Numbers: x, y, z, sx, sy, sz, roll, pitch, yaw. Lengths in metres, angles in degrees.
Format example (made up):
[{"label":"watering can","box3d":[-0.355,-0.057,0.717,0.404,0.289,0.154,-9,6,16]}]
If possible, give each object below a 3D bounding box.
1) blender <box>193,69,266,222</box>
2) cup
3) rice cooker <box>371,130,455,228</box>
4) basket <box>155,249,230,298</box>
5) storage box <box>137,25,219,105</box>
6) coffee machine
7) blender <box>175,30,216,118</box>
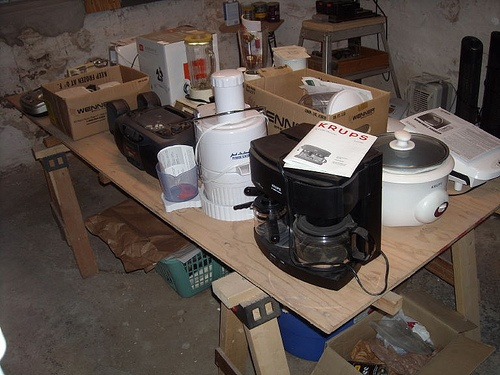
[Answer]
[{"label":"blender","box3d":[-0.070,-0.128,1.610,0.242,0.602,0.292,-19,38,-27]},{"label":"cup","box3d":[-0.310,-0.059,1.712,0.135,0.243,0.181,-9,33,-23]},{"label":"rice cooker","box3d":[0.617,-0.058,1.506,0.284,0.327,0.289,4,35,14]},{"label":"basket","box3d":[-0.305,0.452,2.111,0.350,0.224,0.236,-28,37,-11]},{"label":"storage box","box3d":[-0.440,-0.772,2.486,0.382,0.357,0.368,-28,41,-32]},{"label":"coffee machine","box3d":[0.207,0.055,1.371,0.337,0.404,0.488,-30,41,-32]},{"label":"blender","box3d":[-0.303,-0.665,2.352,0.305,0.422,0.311,-5,26,-12]}]
